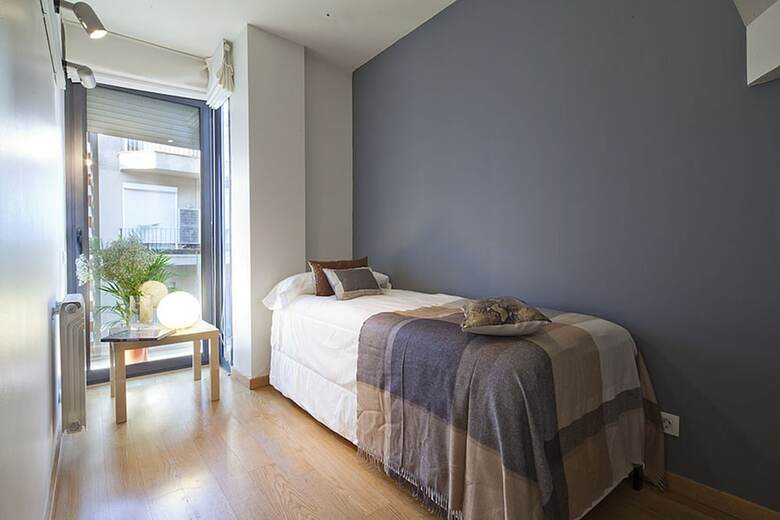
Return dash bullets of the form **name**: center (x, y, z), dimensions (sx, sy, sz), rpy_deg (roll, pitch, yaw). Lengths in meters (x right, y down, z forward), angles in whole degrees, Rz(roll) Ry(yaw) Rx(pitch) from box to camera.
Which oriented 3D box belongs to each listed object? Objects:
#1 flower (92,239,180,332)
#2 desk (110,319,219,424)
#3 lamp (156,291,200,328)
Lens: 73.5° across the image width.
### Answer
- **flower**: center (-2.198, 0.215, 4.667), dimensions (0.798, 0.970, 0.753), rpy_deg (5, 6, 42)
- **desk**: center (-1.900, 0.900, 4.427), dimensions (0.845, 0.633, 0.632), rpy_deg (-8, 6, -30)
- **lamp**: center (-1.787, 0.386, 4.488), dimensions (0.314, 0.315, 0.319), rpy_deg (10, 14, 3)
